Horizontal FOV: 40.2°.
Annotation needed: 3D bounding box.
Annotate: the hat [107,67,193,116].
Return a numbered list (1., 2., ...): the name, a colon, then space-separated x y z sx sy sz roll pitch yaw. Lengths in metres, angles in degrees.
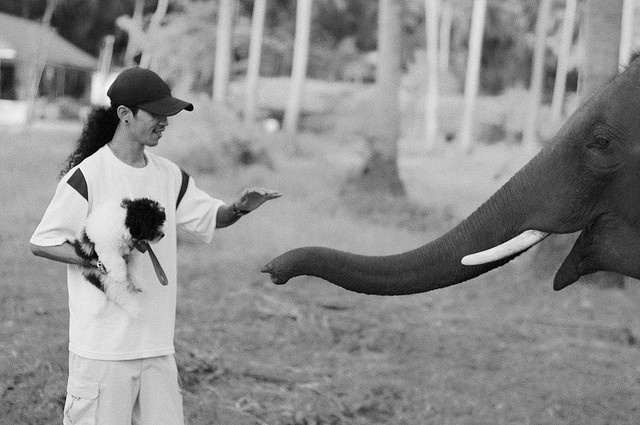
1. hat: -0.873 -0.631 4.514 0.381 0.195 0.238 1 14 13
